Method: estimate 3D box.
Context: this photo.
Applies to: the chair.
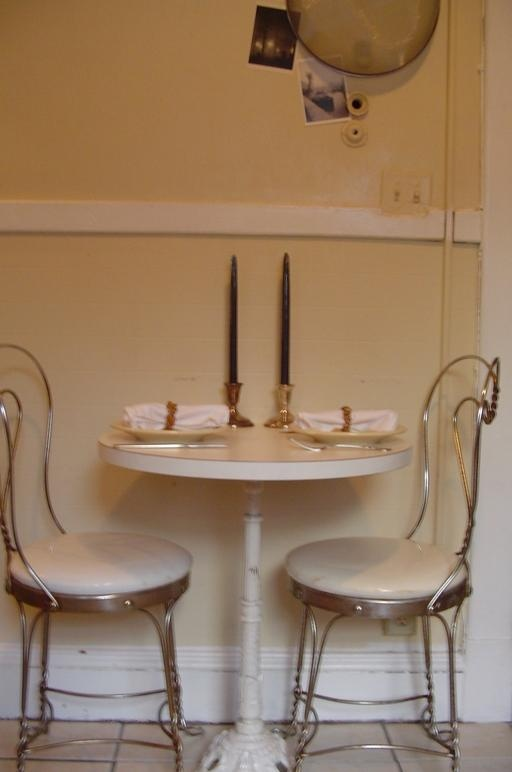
[{"bbox_3d":[-0.032,0.435,1.976,1.187,0.880,0.581,0,-1,1],"label":"chair"}]
